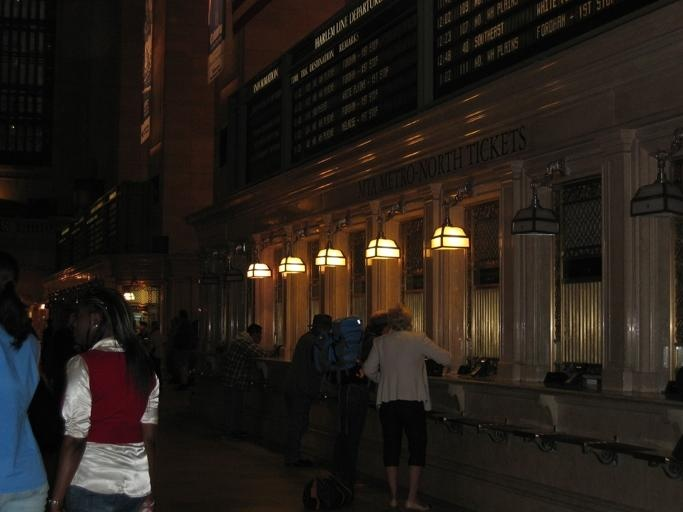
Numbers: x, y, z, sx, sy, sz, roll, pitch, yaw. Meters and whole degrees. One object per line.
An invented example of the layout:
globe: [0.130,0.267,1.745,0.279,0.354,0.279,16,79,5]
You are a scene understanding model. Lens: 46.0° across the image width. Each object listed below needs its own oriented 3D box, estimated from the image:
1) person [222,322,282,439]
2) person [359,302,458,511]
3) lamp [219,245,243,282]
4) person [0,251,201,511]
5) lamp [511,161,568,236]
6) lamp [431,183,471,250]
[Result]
person: [-1.533,1.980,12.972,0.713,1.706,1.557,2,-7,-5]
person: [0.633,1.533,8.221,0.828,2.039,0.334,1,-6,6]
lamp: [-2.299,0.169,17.028,0.429,0.788,1.461,3,-7,-8]
person: [-1.357,0.842,4.705,0.578,1.331,0.369,4,-6,-20]
lamp: [1.952,-0.570,7.899,0.466,0.783,0.658,-1,-7,25]
lamp: [1.272,-0.442,9.343,0.431,0.766,0.692,1,-7,6]
